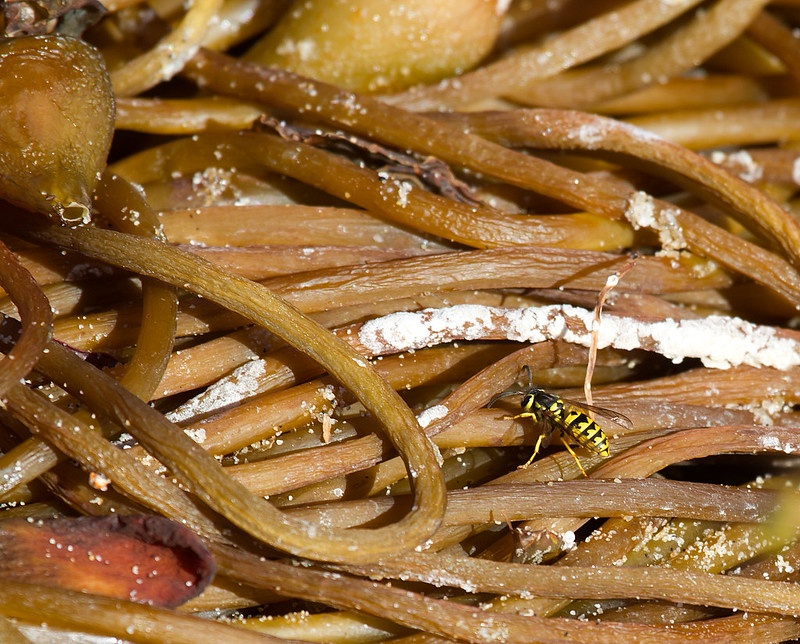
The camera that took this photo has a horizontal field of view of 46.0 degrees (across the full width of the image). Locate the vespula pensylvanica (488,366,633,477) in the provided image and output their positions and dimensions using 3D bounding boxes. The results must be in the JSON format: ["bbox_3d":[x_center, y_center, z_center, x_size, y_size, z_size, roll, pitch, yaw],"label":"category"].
[{"bbox_3d":[0.184,0.108,1.107,0.150,0.044,0.104,26,38,11],"label":"vespula pensylvanica"}]
